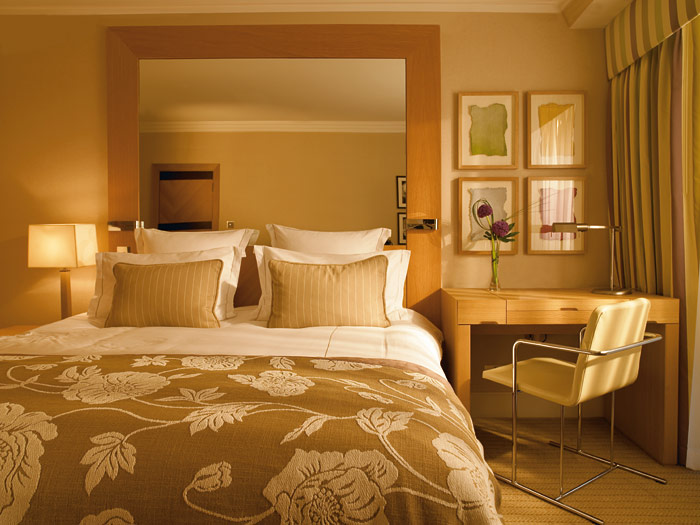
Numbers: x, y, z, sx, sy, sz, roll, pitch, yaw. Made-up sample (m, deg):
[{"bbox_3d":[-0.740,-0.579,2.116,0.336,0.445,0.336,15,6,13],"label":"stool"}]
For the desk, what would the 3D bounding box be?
[{"bbox_3d":[1.259,0.767,3.732,1.127,1.193,1.227,-1,3,-35],"label":"desk"}]

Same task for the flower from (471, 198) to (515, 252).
[{"bbox_3d":[1.026,-0.216,4.079,0.286,0.385,0.242,3,2,16],"label":"flower"}]

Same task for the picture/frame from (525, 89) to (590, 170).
[{"bbox_3d":[1.456,-0.933,4.151,0.412,0.596,0.023,8,36,31],"label":"picture/frame"}]

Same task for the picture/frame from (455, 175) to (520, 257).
[{"bbox_3d":[0.981,-0.349,4.148,0.521,0.723,0.046,0,-3,-4],"label":"picture/frame"}]

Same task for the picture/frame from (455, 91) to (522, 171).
[{"bbox_3d":[0.984,-0.947,4.146,0.497,0.671,0.043,0,-1,-2],"label":"picture/frame"}]

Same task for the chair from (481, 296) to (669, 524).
[{"bbox_3d":[1.318,0.771,3.438,0.903,1.189,0.820,-3,6,-40],"label":"chair"}]

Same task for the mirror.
[{"bbox_3d":[-0.538,-0.801,4.180,1.853,1.281,0.133,1,5,2],"label":"mirror"}]

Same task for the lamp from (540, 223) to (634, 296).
[{"bbox_3d":[1.557,-0.037,4.133,0.653,0.689,0.339,1,-1,11],"label":"lamp"}]

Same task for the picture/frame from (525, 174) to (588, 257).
[{"bbox_3d":[1.474,-0.356,4.138,0.514,0.748,0.025,0,-1,0],"label":"picture/frame"}]
